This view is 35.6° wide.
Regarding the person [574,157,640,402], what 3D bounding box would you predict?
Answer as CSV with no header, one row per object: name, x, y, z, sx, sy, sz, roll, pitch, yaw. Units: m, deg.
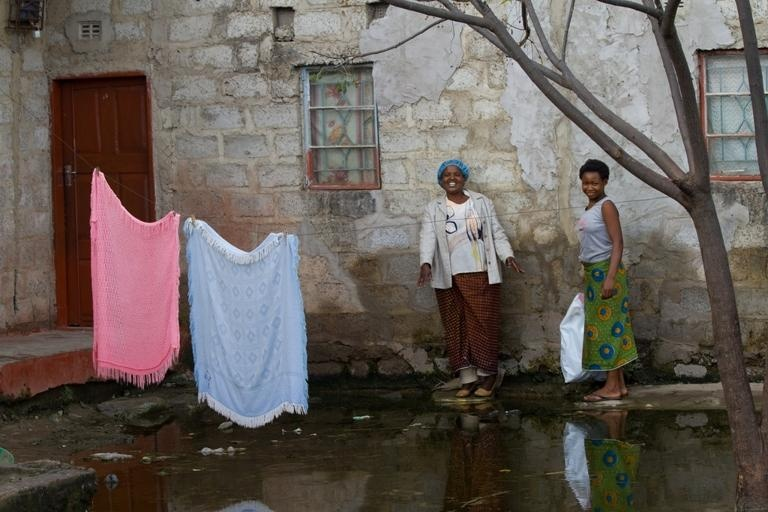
person,1.950,0.083,10.771,0.478,1.898,0.392,-3,-3,15

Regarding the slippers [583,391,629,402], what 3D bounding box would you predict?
slippers,1.980,1.311,10.809,0.366,0.131,0.125,4,-13,5

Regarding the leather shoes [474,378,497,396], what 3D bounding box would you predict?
leather shoes,0.933,1.252,11.188,0.124,0.233,0.090,27,-29,33

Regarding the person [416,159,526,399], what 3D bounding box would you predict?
person,0.765,0.224,11.119,0.865,2.224,0.397,-3,-3,4
